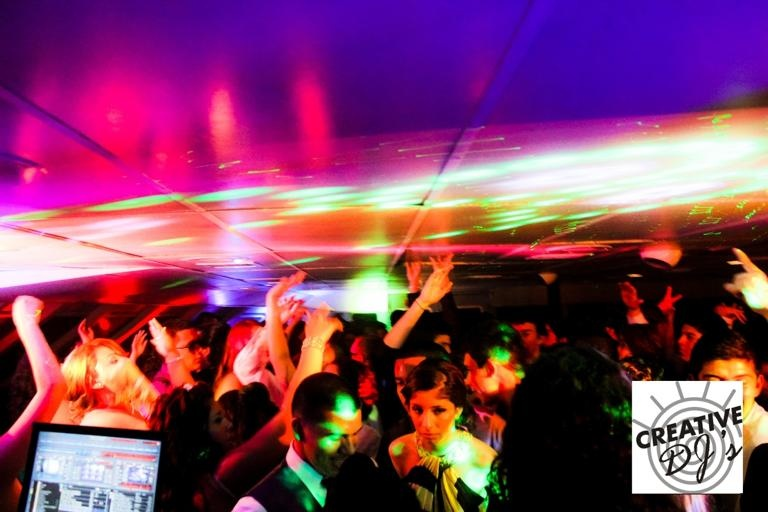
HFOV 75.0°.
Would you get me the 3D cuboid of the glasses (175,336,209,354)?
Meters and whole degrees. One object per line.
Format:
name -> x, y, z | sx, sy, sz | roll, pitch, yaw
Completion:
glasses -> -1.721, 0.819, 4.610 | 0.204, 0.153, 0.056 | -8, -22, 16
